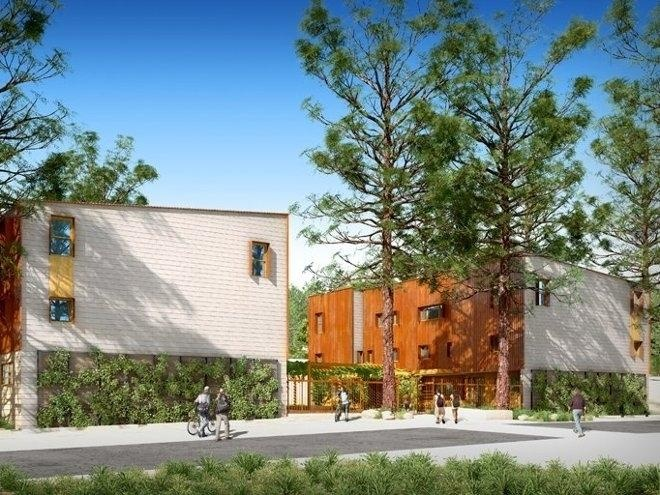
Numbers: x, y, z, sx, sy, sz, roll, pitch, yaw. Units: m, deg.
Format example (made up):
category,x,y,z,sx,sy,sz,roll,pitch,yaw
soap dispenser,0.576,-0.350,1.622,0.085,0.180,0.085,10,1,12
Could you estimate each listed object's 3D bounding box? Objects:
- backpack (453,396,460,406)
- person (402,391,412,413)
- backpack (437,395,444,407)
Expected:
category,x,y,z,sx,sy,sz,roll,pitch,yaw
backpack,6.197,7.564,37.568,0.316,0.475,0.445,-2,2,-2
person,4.612,9.177,45.379,0.618,1.295,0.657,0,-6,28
backpack,5.304,7.386,36.818,0.385,0.607,0.316,3,-18,-12
